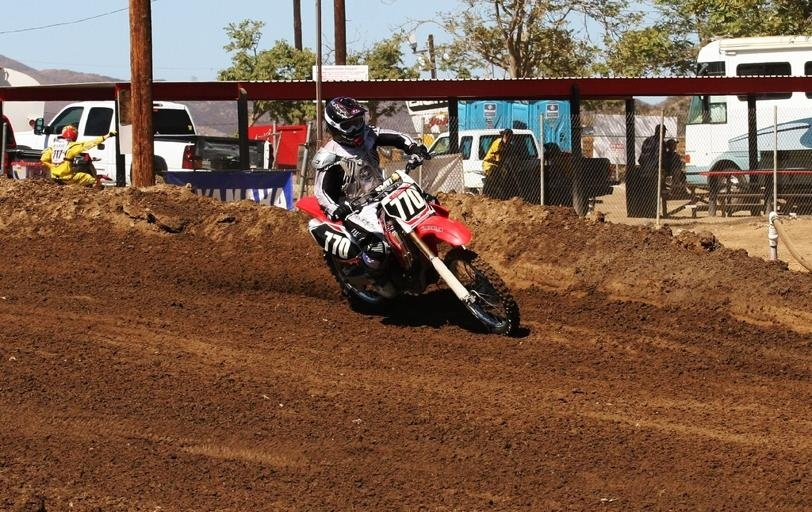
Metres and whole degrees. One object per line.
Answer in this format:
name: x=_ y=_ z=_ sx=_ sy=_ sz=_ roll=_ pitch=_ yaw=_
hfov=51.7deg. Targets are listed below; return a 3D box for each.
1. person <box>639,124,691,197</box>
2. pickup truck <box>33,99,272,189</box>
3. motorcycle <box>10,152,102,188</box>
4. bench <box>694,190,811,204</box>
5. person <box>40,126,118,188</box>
person: x=6.548 y=-2.273 z=21.202 sx=1.038 sy=1.334 sz=2.340 roll=-2 pitch=-2 yaw=-6
pickup truck: x=-7.496 y=-3.191 z=22.538 sx=5.926 sy=2.145 sz=2.849 roll=6 pitch=8 yaw=27
motorcycle: x=-7.650 y=-1.844 z=18.318 sx=1.687 sy=0.709 sz=1.184 roll=5 pitch=9 yaw=22
bench: x=9.075 y=-1.522 z=21.392 sx=2.785 sy=0.366 sz=0.137 roll=6 pitch=9 yaw=29
person: x=-7.358 y=-2.195 z=19.079 sx=1.706 sy=1.427 sz=0.946 roll=9 pitch=33 yaw=18
